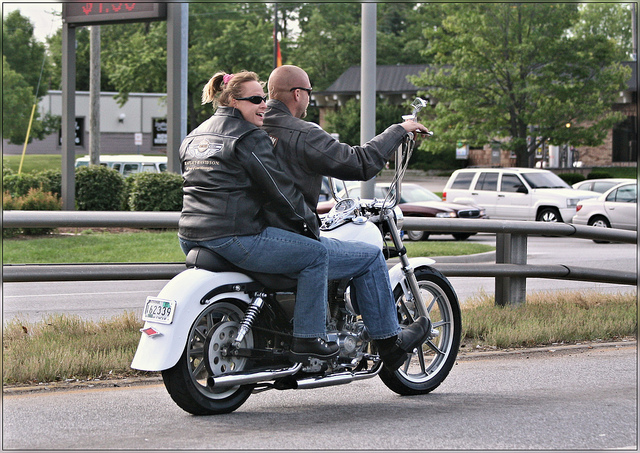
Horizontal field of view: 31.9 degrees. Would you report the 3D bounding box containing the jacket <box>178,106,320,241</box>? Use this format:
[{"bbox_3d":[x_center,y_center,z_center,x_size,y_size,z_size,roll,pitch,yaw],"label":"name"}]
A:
[{"bbox_3d":[-0.991,-0.609,14.548,1.924,1.826,1.989,2,2,-26],"label":"jacket"}]

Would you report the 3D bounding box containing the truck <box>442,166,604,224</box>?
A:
[{"bbox_3d":[5.849,-0.803,33.426,4.358,1.753,2.115,4,7,36],"label":"truck"}]

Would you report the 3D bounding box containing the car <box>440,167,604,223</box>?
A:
[{"bbox_3d":[5.812,-0.792,33.319,4.342,1.766,1.943,4,7,35],"label":"car"}]
